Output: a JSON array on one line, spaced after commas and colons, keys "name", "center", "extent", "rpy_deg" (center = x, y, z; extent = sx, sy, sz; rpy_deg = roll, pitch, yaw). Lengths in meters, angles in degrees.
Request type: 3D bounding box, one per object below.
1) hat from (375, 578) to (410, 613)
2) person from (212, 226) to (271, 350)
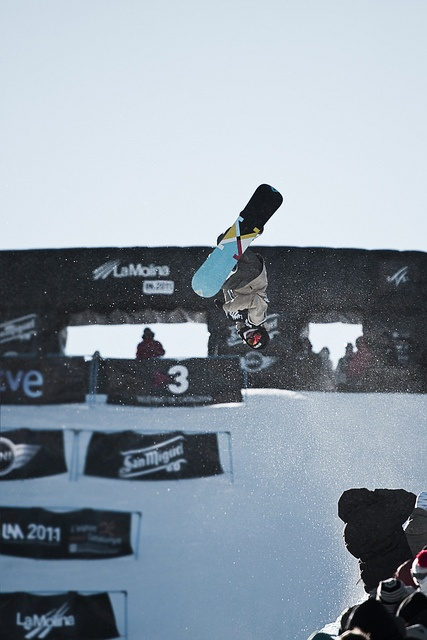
[{"name": "hat", "center": [1.380, 2.080, 6.515], "extent": [0.277, 0.191, 0.248], "rpy_deg": [-3, -2, -2]}, {"name": "person", "center": [0.257, -0.235, 7.391], "extent": [0.646, 0.892, 0.264], "rpy_deg": [-6, 8, 7]}]
